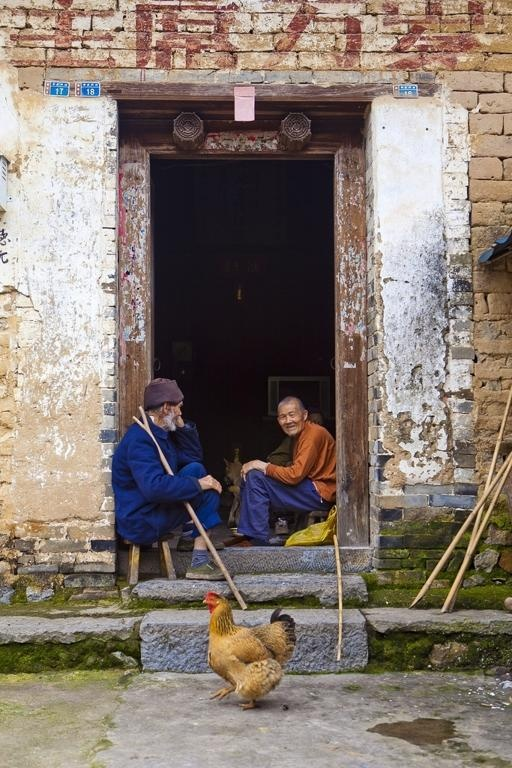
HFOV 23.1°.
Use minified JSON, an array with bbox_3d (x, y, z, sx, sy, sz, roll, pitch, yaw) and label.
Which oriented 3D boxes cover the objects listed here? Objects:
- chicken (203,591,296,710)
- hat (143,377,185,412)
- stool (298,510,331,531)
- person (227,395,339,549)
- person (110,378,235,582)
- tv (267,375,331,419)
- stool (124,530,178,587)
[{"bbox_3d":[-0.050,1.338,6.271,0.488,0.548,0.336,5,-8,-17],"label":"chicken"},{"bbox_3d":[-0.585,0.051,7.750,0.231,0.208,0.169,2,-5,-14],"label":"hat"},{"bbox_3d":[0.356,0.881,8.240,0.161,0.214,0.164,0,-5,-9],"label":"stool"},{"bbox_3d":[0.099,0.544,8.263,0.593,0.991,0.435,0,-1,-25],"label":"person"},{"bbox_3d":[-0.495,0.572,7.632,0.659,1.166,0.705,8,6,33],"label":"person"},{"bbox_3d":[0.369,0.105,11.238,0.604,0.358,0.151,2,3,4],"label":"tv"},{"bbox_3d":[-0.648,1.054,7.549,0.275,0.267,0.358,-3,4,15],"label":"stool"}]
